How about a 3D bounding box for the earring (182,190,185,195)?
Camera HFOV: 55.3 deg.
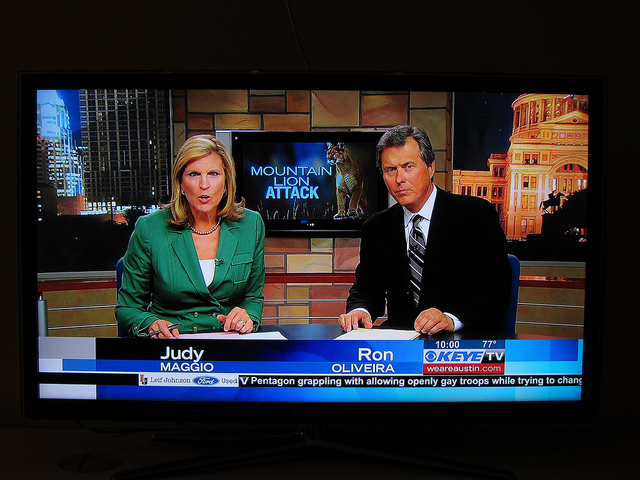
[{"bbox_3d":[-0.465,-0.162,2.079,0.006,0.014,0.004,0,13,-4],"label":"earring"}]
